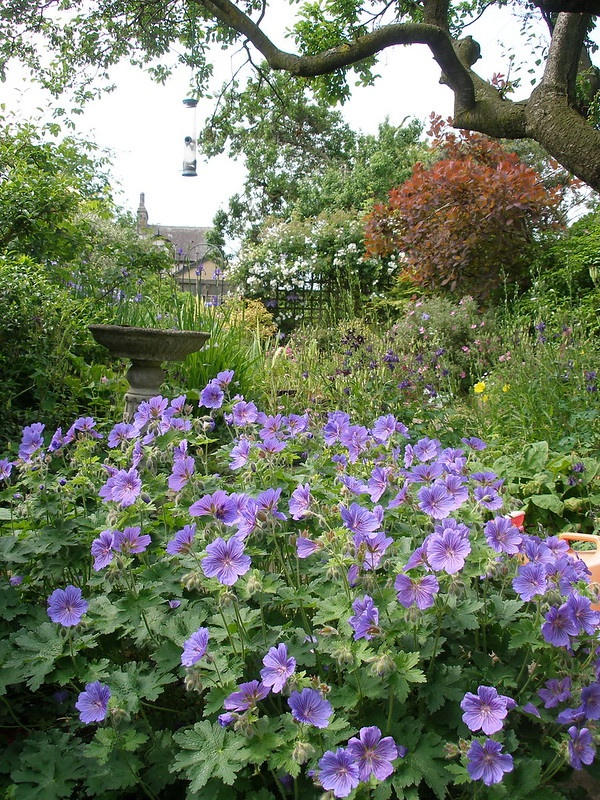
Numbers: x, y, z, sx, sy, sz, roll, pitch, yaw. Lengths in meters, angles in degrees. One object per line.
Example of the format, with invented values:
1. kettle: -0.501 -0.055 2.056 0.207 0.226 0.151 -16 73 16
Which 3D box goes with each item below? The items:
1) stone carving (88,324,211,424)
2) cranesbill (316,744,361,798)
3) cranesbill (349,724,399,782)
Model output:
1. stone carving: -0.929 -0.048 3.837 0.616 0.680 0.629 4 7 -4
2. cranesbill: 0.070 0.596 1.036 0.079 0.079 0.059 3 -6 -17
3. cranesbill: 0.115 0.593 1.075 0.108 0.095 0.021 -29 -61 17
